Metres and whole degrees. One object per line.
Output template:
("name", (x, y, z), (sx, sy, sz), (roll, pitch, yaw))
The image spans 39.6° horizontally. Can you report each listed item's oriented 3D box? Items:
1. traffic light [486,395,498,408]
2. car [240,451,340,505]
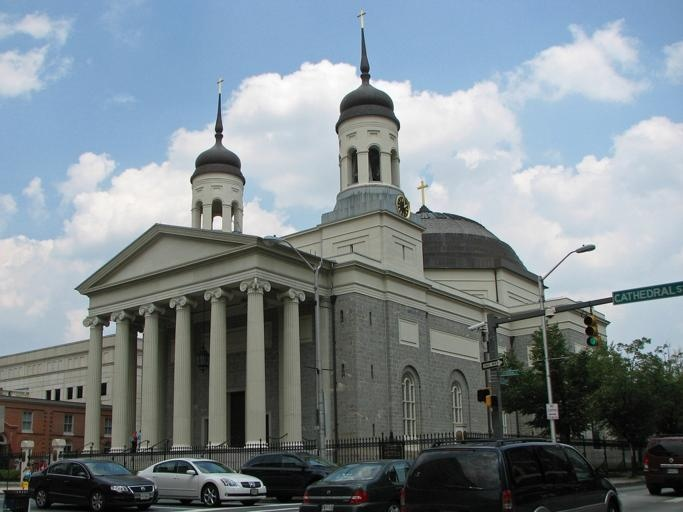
("traffic light", (6.699, 6.474, 42.166), (0.455, 0.640, 0.659), (0, -5, -18))
("car", (-2.558, 10.105, 44.038), (4.289, 1.481, 1.969), (-14, -21, 33))
